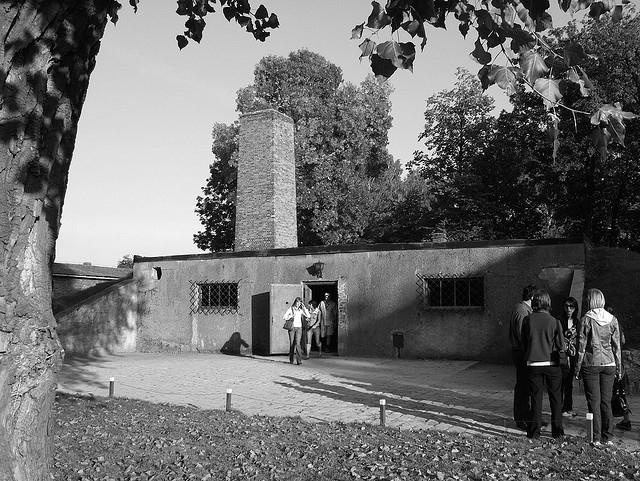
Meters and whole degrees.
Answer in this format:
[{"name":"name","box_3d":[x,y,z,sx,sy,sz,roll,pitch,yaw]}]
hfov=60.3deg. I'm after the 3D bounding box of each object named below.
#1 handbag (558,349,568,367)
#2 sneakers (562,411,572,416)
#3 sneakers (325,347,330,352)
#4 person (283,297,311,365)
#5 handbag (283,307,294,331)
[{"name":"handbag","box_3d":[3.489,1.679,7.918,0.089,0.257,0.231,-5,-9,40]},{"name":"sneakers","box_3d":[4.315,3.025,9.631,0.154,0.072,0.069,-6,0,34]},{"name":"sneakers","box_3d":[0.288,4.144,20.932,0.178,0.090,0.266,0,-7,0]},{"name":"person","box_3d":[-0.727,2.800,17.182,0.732,2.067,0.801,-2,-7,19]},{"name":"handbag","box_3d":[-0.959,2.437,17.083,0.245,0.695,0.560,2,-7,-11]}]
